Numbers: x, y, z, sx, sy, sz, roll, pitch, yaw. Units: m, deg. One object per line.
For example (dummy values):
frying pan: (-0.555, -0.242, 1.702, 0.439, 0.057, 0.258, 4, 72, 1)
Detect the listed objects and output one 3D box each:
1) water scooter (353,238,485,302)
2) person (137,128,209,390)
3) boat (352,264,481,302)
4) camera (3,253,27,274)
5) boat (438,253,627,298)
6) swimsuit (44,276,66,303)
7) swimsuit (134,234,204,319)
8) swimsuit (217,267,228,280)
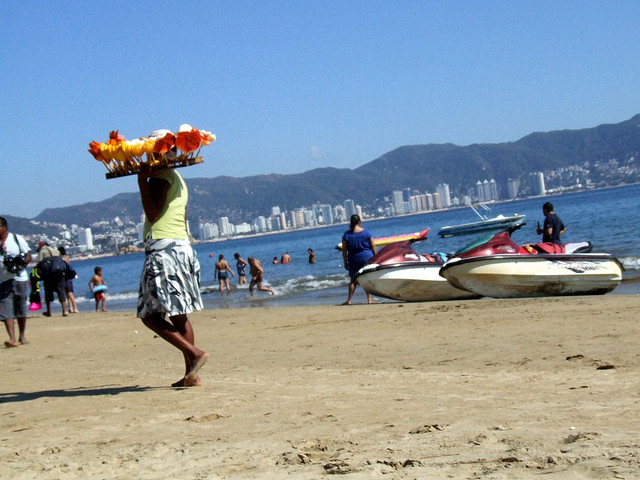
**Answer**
water scooter: (2.195, 0.542, 14.199, 3.068, 1.140, 1.409, 1, -9, -24)
person: (-1.425, 0.193, 6.391, 0.577, 2.279, 0.338, -4, 1, -14)
boat: (1.755, 1.055, 13.581, 1.914, 0.499, 1.018, 3, -11, -17)
camera: (-4.270, 0.341, 9.598, 0.257, 0.261, 0.100, 21, 1, -5)
boat: (3.893, 0.638, 12.535, 2.590, 0.689, 1.244, 0, -4, -4)
swimsuit: (-6.215, 1.174, 15.974, 0.466, 0.646, 1.108, -4, 1, -21)
swimsuit: (-1.417, 0.327, 6.333, 0.572, 0.711, 0.215, -4, 1, -18)
swimsuit: (-3.311, 1.168, 23.234, 0.479, 0.346, 0.620, 1, 24, -5)
